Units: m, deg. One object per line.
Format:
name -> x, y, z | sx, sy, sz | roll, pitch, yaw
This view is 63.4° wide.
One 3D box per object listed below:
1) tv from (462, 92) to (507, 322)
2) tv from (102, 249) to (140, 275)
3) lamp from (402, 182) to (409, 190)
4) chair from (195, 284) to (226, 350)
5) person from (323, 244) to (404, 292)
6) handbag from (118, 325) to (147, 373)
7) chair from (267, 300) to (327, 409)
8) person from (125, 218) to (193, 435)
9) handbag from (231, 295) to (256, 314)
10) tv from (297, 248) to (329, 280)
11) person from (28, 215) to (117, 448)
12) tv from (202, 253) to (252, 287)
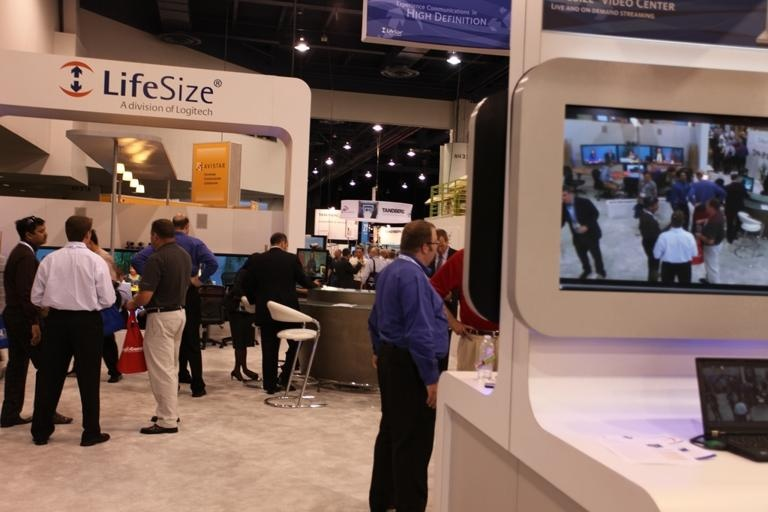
tv -> 0.400, -0.199, 2.446 | 0.146, 0.918, 0.134 | 2, 2, 7
tv -> -3.271, 0.079, 7.735 | 0.388, 0.283, 0.041 | 1, -11, -5
lamp -> 1.003, -3.387, 30.025 | 0.300, 0.242, 0.328 | 2, 2, -7
chair -> -2.465, 0.835, 8.613 | 0.505, 0.809, 0.474 | 3, -5, -14
person -> -0.391, 0.195, 10.086 | 0.935, 0.284, 0.270 | -18, 27, -19
handbag -> -2.060, 0.757, 5.105 | 0.209, 0.456, 0.272 | 1, 2, -22
chair -> -0.903, 0.947, 6.326 | 0.588, 1.070, 0.600 | -4, 9, -26
person -> -1.861, 0.589, 5.134 | 0.308, 1.773, 0.484 | 2, 2, 11
handbag -> -1.610, 0.574, 7.128 | 0.262, 0.256, 0.206 | -3, 6, -13
tv -> -0.880, 0.116, 7.713 | 0.371, 0.374, 0.052 | 0, -8, -9
person -> -2.366, 0.551, 4.860 | 0.569, 1.782, 0.550 | 2, 2, -4
tv -> -2.122, 0.186, 8.438 | 0.504, 0.520, 0.049 | 0, -2, 1
